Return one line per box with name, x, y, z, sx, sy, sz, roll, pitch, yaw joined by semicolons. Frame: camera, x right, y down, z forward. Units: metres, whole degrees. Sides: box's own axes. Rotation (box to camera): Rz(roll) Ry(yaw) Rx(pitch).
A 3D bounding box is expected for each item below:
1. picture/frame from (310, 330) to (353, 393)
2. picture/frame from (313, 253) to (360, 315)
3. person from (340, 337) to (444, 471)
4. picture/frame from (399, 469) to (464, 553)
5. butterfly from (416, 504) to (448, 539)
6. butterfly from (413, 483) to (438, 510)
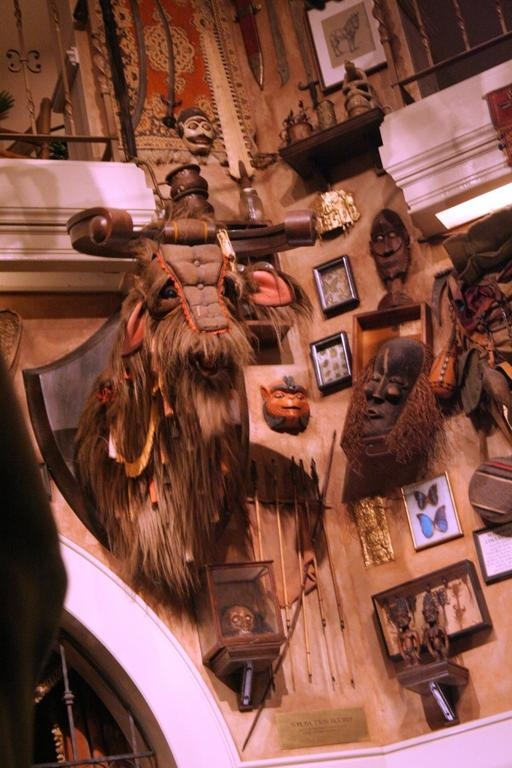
picture/frame;0.449;-0.133;3.736;0.230;0.320;0.033;-21;-27;26
picture/frame;0.482;-0.601;3.845;0.222;0.313;0.027;-18;-20;17
person;0.727;0.121;3.300;0.543;0.771;0.323;11;-13;36
picture/frame;0.923;0.671;3.296;0.340;0.423;0.029;-22;-25;33
butterfly;0.918;0.718;3.287;0.147;0.148;0.037;-22;-22;28
butterfly;0.890;0.598;3.326;0.118;0.117;0.029;-18;-31;29
